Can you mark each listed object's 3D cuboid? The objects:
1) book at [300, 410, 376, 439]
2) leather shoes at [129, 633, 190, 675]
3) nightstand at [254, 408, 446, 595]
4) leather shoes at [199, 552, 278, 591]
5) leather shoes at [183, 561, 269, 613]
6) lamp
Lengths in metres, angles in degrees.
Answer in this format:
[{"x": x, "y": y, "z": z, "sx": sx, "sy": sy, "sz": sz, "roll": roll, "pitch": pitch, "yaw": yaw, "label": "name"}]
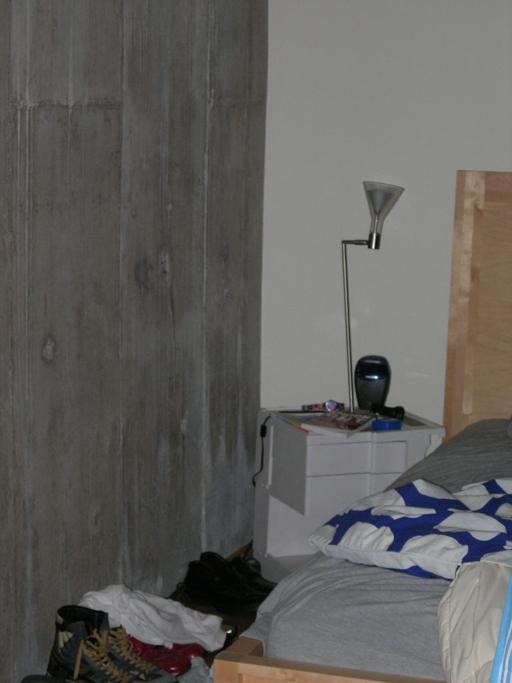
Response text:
[{"x": 0.277, "y": 0.284, "z": 3.040, "sx": 0.256, "sy": 0.065, "sz": 0.262, "roll": -1, "pitch": 0, "yaw": 20, "label": "book"}, {"x": -0.236, "y": 0.803, "z": 2.298, "sx": 0.202, "sy": 0.078, "sz": 0.066, "roll": 0, "pitch": -2, "yaw": 28, "label": "leather shoes"}, {"x": 0.217, "y": 0.534, "z": 3.396, "sx": 0.626, "sy": 0.809, "sz": 0.641, "roll": -5, "pitch": 10, "yaw": -33, "label": "nightstand"}, {"x": -0.048, "y": 0.782, "z": 3.049, "sx": 0.095, "sy": 0.111, "sz": 0.306, "roll": 0, "pitch": -4, "yaw": -42, "label": "leather shoes"}, {"x": -0.095, "y": 0.805, "z": 2.934, "sx": 0.151, "sy": 0.058, "sz": 0.186, "roll": 3, "pitch": 4, "yaw": -26, "label": "leather shoes"}, {"x": 0.448, "y": -0.178, "z": 3.451, "sx": 0.241, "sy": 0.820, "sz": 0.594, "roll": -1, "pitch": 0, "yaw": 7, "label": "lamp"}]
